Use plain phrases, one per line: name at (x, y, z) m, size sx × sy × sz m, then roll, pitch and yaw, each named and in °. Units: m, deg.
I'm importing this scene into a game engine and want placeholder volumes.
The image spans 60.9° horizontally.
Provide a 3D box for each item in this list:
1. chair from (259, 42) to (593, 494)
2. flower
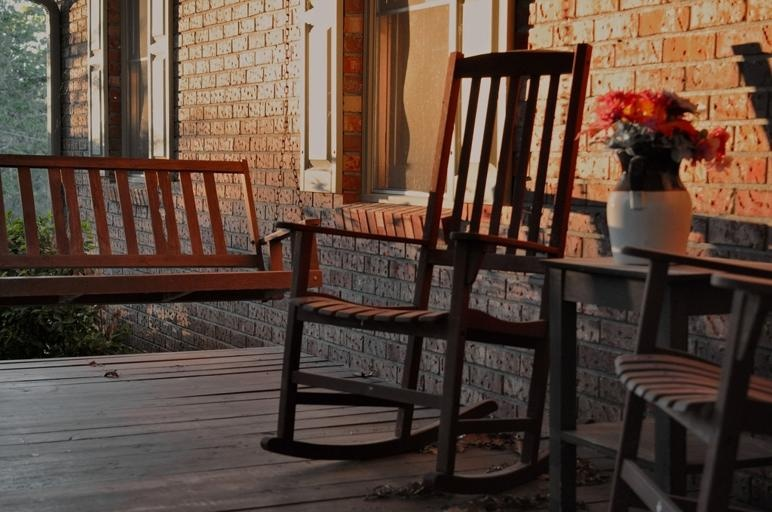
chair at (0.193, -0.026, 2.850) m, size 1.194 × 1.715 × 1.364 m, roll 1°, pitch 6°, yaw -4°
flower at (0.900, -0.440, 2.219) m, size 0.378 × 0.342 × 0.157 m, roll 5°, pitch 58°, yaw 28°
